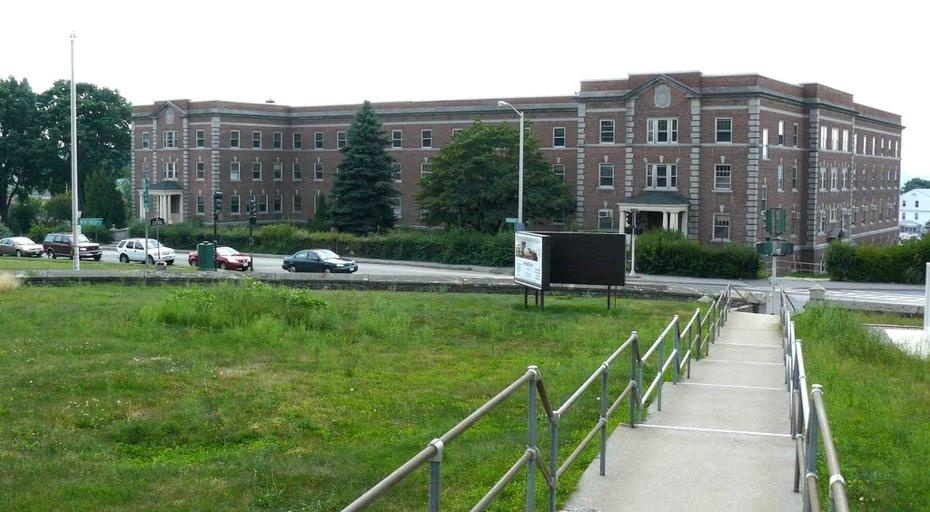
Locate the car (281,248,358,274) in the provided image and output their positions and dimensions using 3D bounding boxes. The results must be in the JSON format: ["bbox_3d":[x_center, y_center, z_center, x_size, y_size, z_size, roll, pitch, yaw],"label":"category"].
[{"bbox_3d":[-8.993,0.492,55.079,4.238,1.336,1.836,-3,-1,30],"label":"car"}]
